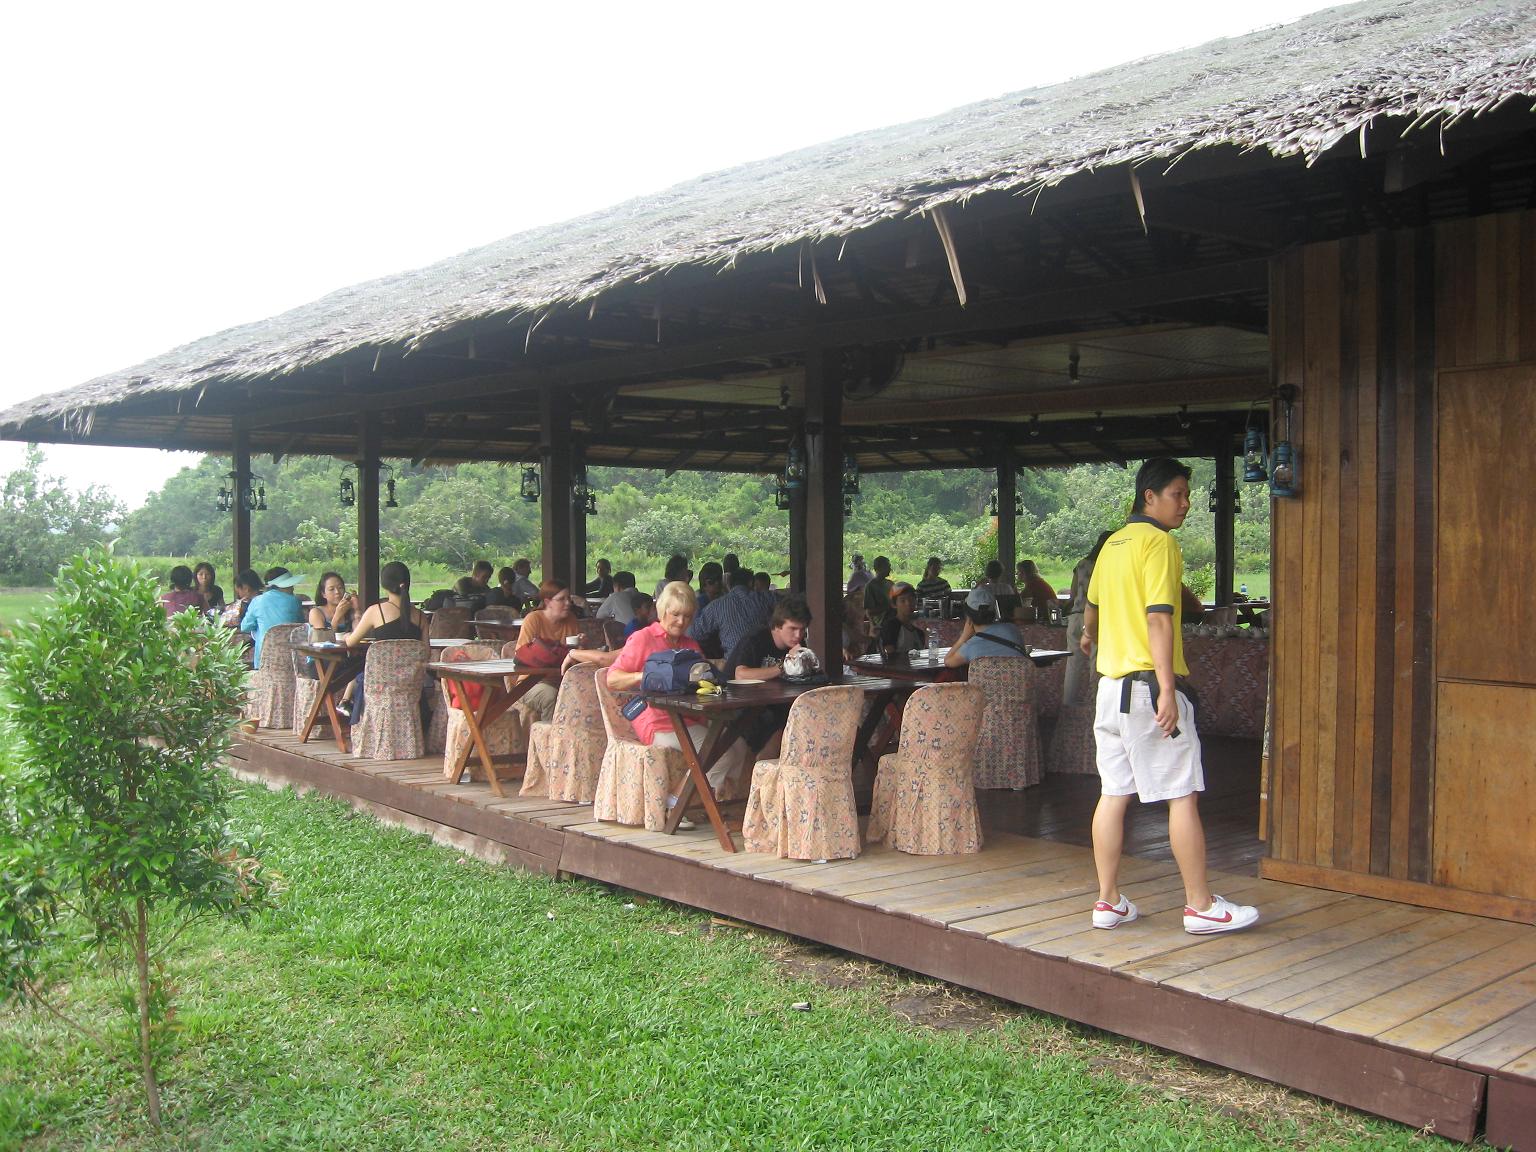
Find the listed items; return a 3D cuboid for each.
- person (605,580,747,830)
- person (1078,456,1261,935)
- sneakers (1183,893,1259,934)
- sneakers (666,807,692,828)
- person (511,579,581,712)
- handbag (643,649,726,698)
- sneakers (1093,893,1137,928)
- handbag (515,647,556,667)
[{"bbox_3d":[-0.536,0.685,7.419,0.798,1.267,0.930,-1,5,-2],"label":"person"},{"bbox_3d":[1.709,0.496,5.781,0.652,2.014,0.656,0,5,13],"label":"person"},{"bbox_3d":[1.927,1.449,5.694,0.329,0.154,0.129,-7,3,-10],"label":"sneakers"},{"bbox_3d":[-0.498,1.367,7.417,0.062,0.075,0.173,3,-7,-39],"label":"sneakers"},{"bbox_3d":[-1.511,0.559,8.893,0.398,0.955,1.182,-2,4,-11],"label":"person"},{"bbox_3d":[-0.460,0.470,7.067,0.253,0.225,0.332,0,-2,22],"label":"handbag"},{"bbox_3d":[1.495,1.442,5.758,0.245,0.105,0.086,-5,4,-43],"label":"sneakers"},{"bbox_3d":[-1.505,0.503,8.466,0.284,0.133,0.098,0,5,11],"label":"handbag"}]
